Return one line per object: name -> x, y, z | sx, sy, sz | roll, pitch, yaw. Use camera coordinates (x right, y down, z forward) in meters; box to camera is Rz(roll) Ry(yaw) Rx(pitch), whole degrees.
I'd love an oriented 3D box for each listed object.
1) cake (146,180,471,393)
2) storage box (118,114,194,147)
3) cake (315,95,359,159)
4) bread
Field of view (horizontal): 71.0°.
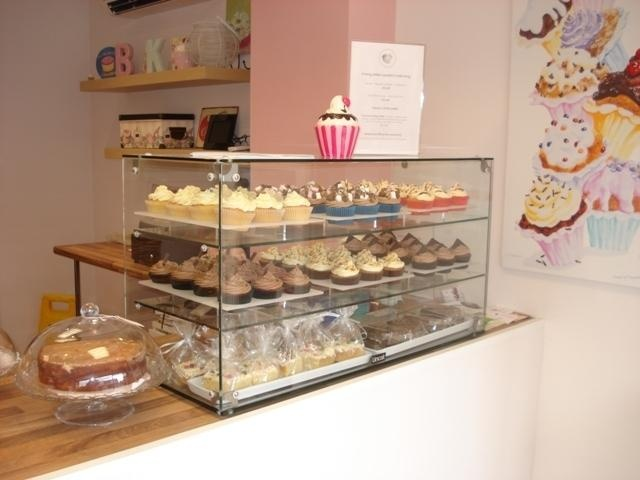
cake -> 0.034, 0.121, 1.716 | 1.163, 0.676, 0.318 | -5, 13, -34
storage box -> -1.479, -0.967, 4.011 | 0.859, 0.312, 0.213 | 10, 13, 33
cake -> 0.077, -0.430, 1.719 | 0.161, 0.240, 0.196 | 0, 11, -15
bread -> -0.623, 0.346, 1.251 | 0.177, 0.057, 0.174 | 10, 9, 44
